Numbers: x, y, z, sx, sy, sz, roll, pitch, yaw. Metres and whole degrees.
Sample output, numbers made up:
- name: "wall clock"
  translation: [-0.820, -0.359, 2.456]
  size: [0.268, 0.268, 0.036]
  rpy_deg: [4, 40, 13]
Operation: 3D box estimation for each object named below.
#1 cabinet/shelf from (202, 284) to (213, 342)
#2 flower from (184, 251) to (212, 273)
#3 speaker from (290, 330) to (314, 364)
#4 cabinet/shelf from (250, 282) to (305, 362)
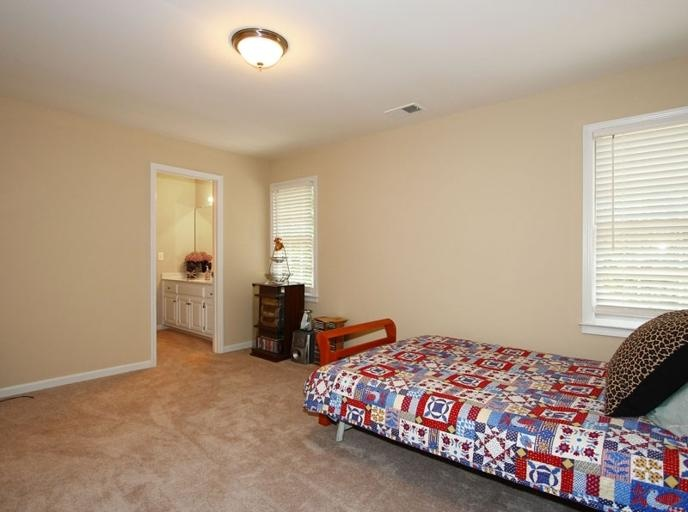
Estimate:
- name: "cabinet/shelf"
  translation: [-1.858, 0.777, 6.456]
  size: [0.102, 0.768, 0.341]
  rpy_deg: [-7, 13, -32]
- name: "flower"
  translation: [-2.382, 0.147, 7.736]
  size: [0.355, 0.373, 0.469]
  rpy_deg: [-1, -3, 21]
- name: "speaker"
  translation: [-0.504, 1.103, 5.707]
  size: [0.287, 0.393, 0.182]
  rpy_deg: [10, 14, 38]
- name: "cabinet/shelf"
  translation: [-0.830, 0.824, 5.866]
  size: [0.658, 0.916, 0.495]
  rpy_deg: [-1, 11, -8]
